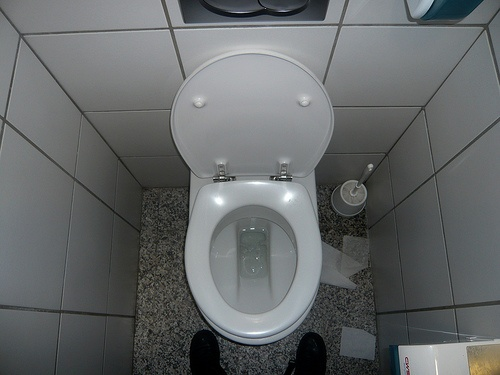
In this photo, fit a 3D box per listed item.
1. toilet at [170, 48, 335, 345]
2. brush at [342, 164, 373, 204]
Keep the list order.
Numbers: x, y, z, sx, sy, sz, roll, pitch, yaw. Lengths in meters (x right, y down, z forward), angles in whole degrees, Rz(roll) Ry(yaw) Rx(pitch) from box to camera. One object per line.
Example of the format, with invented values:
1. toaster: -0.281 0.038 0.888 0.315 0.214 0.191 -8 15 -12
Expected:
1. toilet: 0.011 0.031 1.548 0.633 1.173 1.095 0 76 0
2. brush: 0.577 -0.019 1.949 0.133 0.304 0.157 6 75 8
